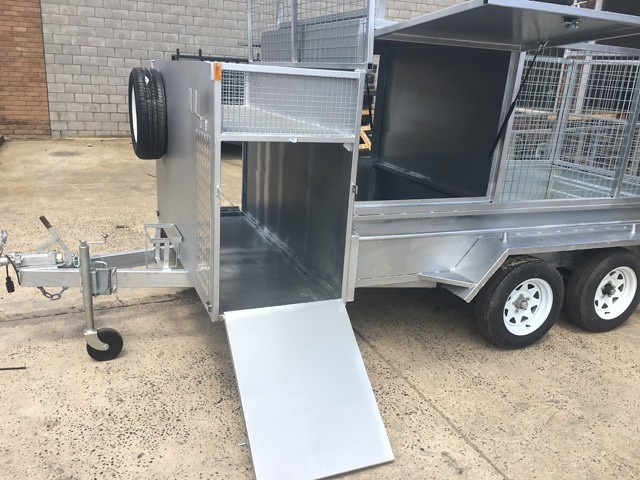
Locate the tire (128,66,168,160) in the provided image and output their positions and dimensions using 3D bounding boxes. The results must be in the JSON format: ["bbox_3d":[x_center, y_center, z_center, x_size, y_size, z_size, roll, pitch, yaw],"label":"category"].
[{"bbox_3d":[-1.444,-1.050,4.036,0.274,0.802,0.777,-5,13,-23],"label":"tire"}]

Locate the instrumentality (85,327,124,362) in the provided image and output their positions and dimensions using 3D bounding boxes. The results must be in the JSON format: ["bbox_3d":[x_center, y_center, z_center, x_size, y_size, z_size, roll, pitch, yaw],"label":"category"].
[{"bbox_3d":[-1.533,0.740,3.484,0.233,0.246,0.101,-15,24,-15],"label":"instrumentality"}]

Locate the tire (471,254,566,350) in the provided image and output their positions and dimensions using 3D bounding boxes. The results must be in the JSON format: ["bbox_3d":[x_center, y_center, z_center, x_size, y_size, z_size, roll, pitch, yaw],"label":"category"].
[{"bbox_3d":[1.596,0.490,3.903,0.707,0.740,0.235,-10,22,-16],"label":"tire"}]
